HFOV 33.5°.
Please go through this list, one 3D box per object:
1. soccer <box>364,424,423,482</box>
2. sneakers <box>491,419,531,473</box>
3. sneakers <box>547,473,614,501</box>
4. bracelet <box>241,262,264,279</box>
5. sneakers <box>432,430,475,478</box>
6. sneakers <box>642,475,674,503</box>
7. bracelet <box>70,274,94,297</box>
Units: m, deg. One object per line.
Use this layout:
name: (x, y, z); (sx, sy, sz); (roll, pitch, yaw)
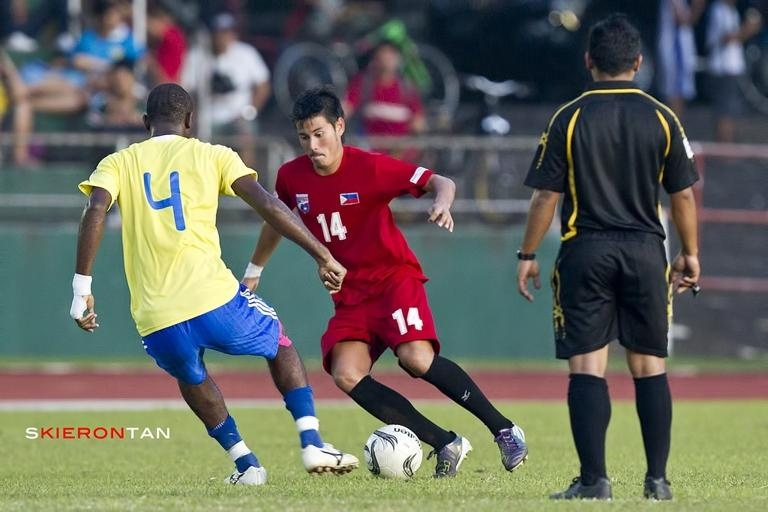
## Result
soccer: (0.098, 2.033, 13.126); (0.619, 0.630, 0.584); (-2, 10, -14)
sneakers: (1.283, 1.957, 13.017); (0.311, 0.212, 0.575); (28, 24, -15)
sneakers: (1.855, 2.178, 12.129); (0.660, 0.232, 0.211); (1, -17, 7)
bracelet: (-1.379, 0.146, 13.278); (0.169, 0.181, 0.202); (13, 0, 13)
sneakers: (0.699, 2.027, 13.000); (0.292, 0.540, 0.206); (16, 17, -28)
sneakers: (2.621, 2.223, 12.213); (0.174, 0.122, 0.252); (2, 2, -4)
bracelet: (-2.924, 0.274, 12.464); (0.244, 0.214, 0.191); (1, 6, 3)
